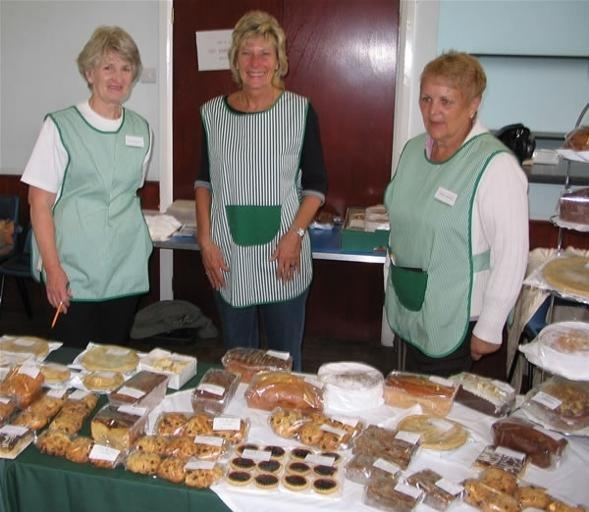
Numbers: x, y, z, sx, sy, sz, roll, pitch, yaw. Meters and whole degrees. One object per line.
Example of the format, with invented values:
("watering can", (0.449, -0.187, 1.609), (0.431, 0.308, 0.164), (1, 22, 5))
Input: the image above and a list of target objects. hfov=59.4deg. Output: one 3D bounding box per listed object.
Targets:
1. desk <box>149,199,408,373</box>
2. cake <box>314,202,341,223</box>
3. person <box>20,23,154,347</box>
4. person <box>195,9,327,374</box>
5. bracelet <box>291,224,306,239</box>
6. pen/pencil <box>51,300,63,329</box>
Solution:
("desk", (-0.064, 0.393, 3.648), (1.745, 1.488, 1.033), (4, 36, 6))
("cake", (0.212, -0.270, 3.295), (0.133, 0.049, 0.142), (-2, 22, -7))
("person", (-0.723, -0.230, 1.903), (0.484, 1.129, 0.233), (-13, 22, -33))
("person", (-0.146, -0.224, 1.995), (0.536, 1.327, 0.408), (1, 18, 4))
("bracelet", (0.016, -0.092, 1.952), (0.049, 0.054, 0.018), (-33, 13, -21))
("pen/pencil", (-0.851, 0.211, 1.849), (0.012, 0.107, 0.012), (22, 2, 25))
